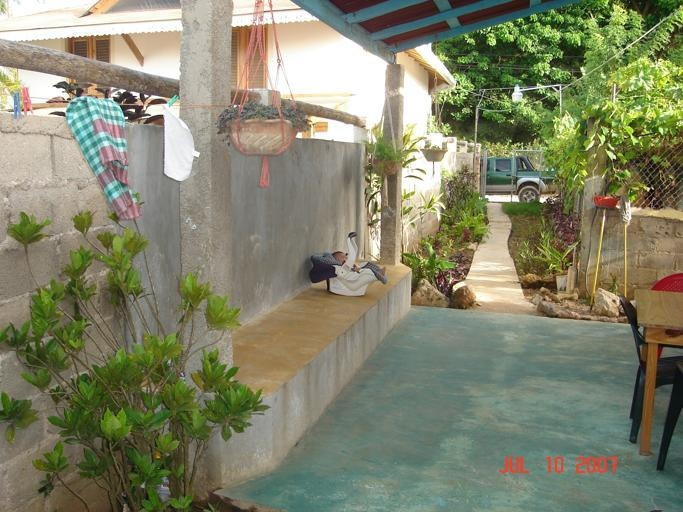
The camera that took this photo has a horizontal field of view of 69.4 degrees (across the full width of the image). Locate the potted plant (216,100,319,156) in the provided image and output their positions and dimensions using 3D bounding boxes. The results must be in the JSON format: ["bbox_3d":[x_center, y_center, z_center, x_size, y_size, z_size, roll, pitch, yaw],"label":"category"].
[{"bbox_3d":[-0.555,-0.898,3.500,0.598,0.359,0.263,0,12,-4],"label":"potted plant"}]
